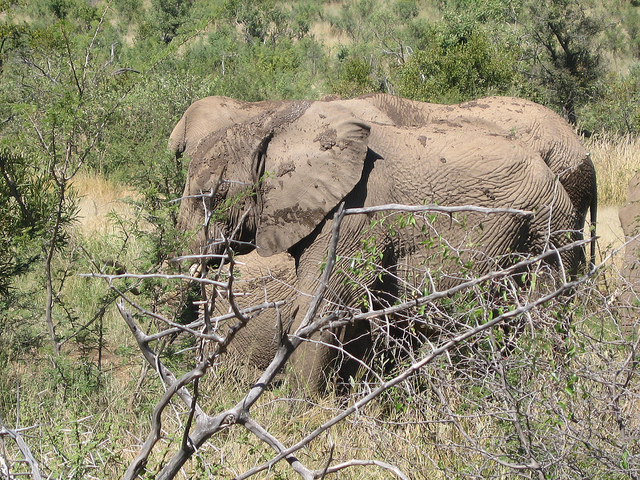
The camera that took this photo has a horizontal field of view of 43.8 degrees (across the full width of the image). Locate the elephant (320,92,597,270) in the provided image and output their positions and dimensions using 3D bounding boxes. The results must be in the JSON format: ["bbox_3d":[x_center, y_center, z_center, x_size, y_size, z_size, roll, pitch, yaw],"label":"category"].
[{"bbox_3d":[1.601,-0.797,9.357,3.054,2.191,1.609,3,6,6],"label":"elephant"}]

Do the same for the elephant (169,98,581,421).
[{"bbox_3d":[0.352,0.110,7.525,4.380,3.504,2.367,1,5,-2],"label":"elephant"}]
